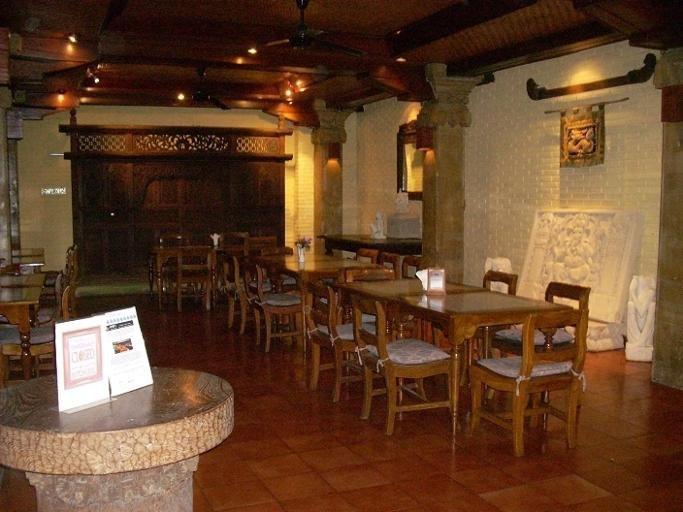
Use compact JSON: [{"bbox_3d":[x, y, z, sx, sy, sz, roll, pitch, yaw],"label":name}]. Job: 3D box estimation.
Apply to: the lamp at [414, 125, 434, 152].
[{"bbox_3d":[1.321,-1.838,8.741,0.190,0.388,0.550,-1,7,-3],"label":"lamp"}]
